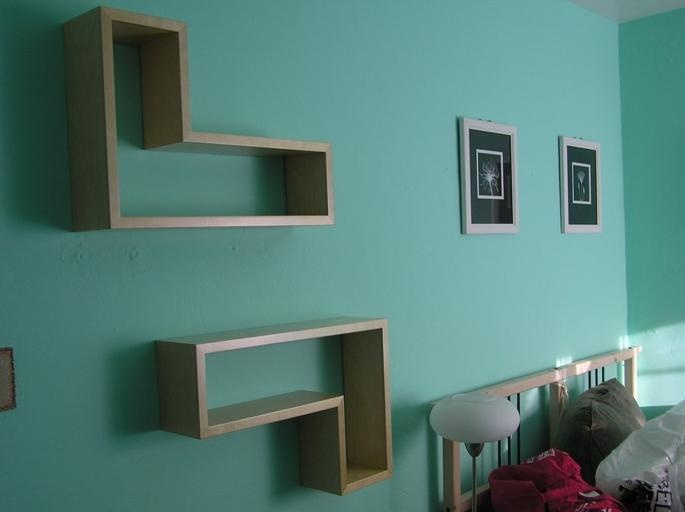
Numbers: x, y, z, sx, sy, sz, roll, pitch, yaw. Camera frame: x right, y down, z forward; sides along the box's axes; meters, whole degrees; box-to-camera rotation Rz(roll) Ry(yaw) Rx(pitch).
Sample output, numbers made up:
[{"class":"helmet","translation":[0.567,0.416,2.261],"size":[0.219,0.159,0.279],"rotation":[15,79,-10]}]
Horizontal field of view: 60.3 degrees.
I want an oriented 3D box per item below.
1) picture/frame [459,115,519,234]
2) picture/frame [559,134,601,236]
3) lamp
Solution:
[{"class":"picture/frame","translation":[0.701,-0.391,2.875],"size":[0.043,0.697,0.546],"rotation":[-3,-1,40]},{"class":"picture/frame","translation":[1.362,-0.407,3.420],"size":[0.038,0.653,0.553],"rotation":[-4,0,35]},{"class":"lamp","translation":[0.507,0.850,2.394],"size":[0.304,0.499,0.339],"rotation":[-2,0,-23]}]
